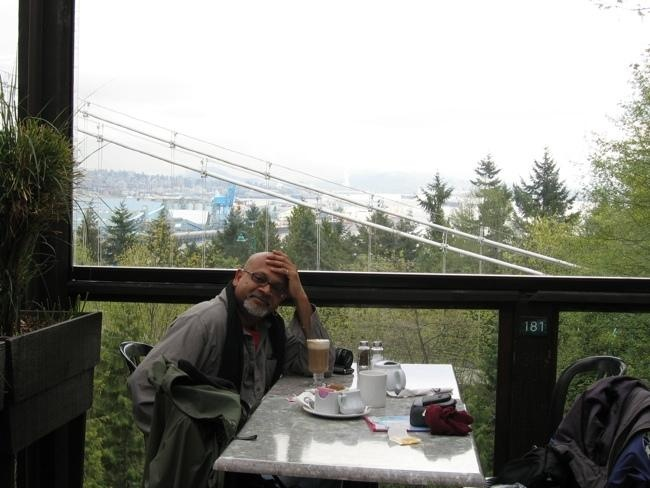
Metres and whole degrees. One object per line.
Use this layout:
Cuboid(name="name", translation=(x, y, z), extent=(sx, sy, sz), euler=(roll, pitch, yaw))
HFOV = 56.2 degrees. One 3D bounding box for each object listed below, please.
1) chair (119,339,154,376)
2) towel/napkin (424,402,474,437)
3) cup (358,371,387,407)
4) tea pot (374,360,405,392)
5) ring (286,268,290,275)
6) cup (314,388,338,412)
Cuboid(name="chair", translation=(-0.923, 0.560, 3.011), extent=(0.134, 0.161, 0.149), euler=(12, -21, -29))
Cuboid(name="towel/napkin", translation=(0.493, 0.711, 2.487), extent=(0.125, 0.070, 0.136), euler=(-3, 5, 0))
Cuboid(name="cup", translation=(0.212, 0.657, 2.776), extent=(0.132, 0.148, 0.124), euler=(3, 0, 0))
Cuboid(name="tea pot", translation=(0.312, 0.629, 2.888), extent=(0.091, 0.141, 0.147), euler=(1, 0, -29))
Cuboid(name="ring", translation=(-0.195, 0.149, 3.129), extent=(0.017, 0.020, 0.016), euler=(-2, 3, -34))
Cuboid(name="cup", translation=(0.006, 0.665, 2.626), extent=(0.108, 0.104, 0.084), euler=(-1, -6, 31))
